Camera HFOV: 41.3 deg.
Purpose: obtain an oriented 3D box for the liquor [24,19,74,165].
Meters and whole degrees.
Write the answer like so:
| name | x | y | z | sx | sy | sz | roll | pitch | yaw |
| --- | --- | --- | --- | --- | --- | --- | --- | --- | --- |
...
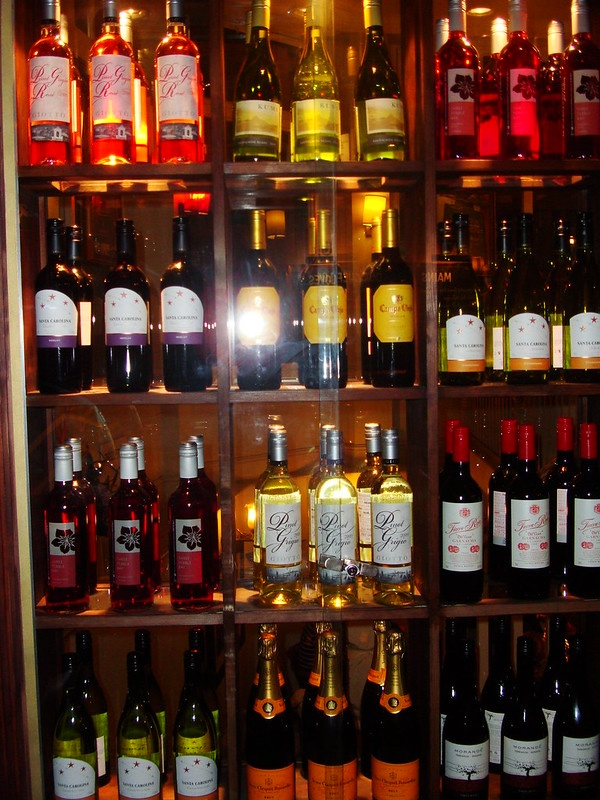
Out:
| name | x | y | z | sx | sy | sz | roll | pitch | yaw |
| --- | --- | --- | --- | --- | --- | --- | --- | --- | --- |
| liquor | -0.396 | -0.485 | 1.253 | 0.072 | 0.217 | 0.057 | -4 | 2 | -19 |

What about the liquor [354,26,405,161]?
| name | x | y | z | sx | sy | sz | roll | pitch | yaw |
| --- | --- | --- | --- | --- | --- | --- | --- | --- | --- |
| liquor | 0.128 | -0.494 | 1.297 | 0.078 | 0.160 | 0.095 | -4 | 2 | 10 |

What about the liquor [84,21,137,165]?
| name | x | y | z | sx | sy | sz | roll | pitch | yaw |
| --- | --- | --- | --- | --- | --- | --- | --- | --- | --- |
| liquor | -0.305 | -0.494 | 1.263 | 0.079 | 0.227 | 0.060 | -4 | 2 | -5 |

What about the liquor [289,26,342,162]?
| name | x | y | z | sx | sy | sz | roll | pitch | yaw |
| --- | --- | --- | --- | --- | --- | --- | --- | --- | --- |
| liquor | 0.021 | -0.467 | 1.244 | 0.082 | 0.163 | 0.057 | -4 | 2 | 4 |

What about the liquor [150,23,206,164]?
| name | x | y | z | sx | sy | sz | roll | pitch | yaw |
| --- | --- | --- | --- | --- | --- | --- | --- | --- | --- |
| liquor | -0.193 | -0.487 | 1.261 | 0.077 | 0.194 | 0.064 | -4 | 2 | -9 |
